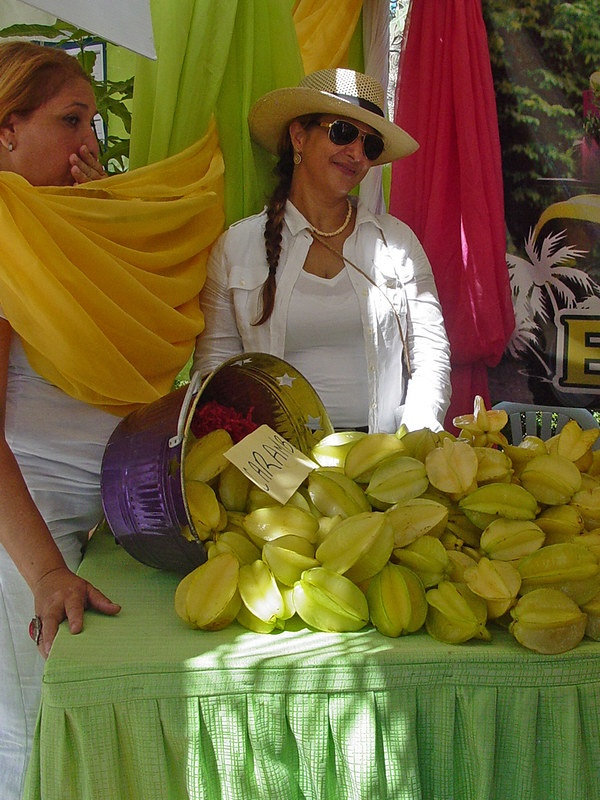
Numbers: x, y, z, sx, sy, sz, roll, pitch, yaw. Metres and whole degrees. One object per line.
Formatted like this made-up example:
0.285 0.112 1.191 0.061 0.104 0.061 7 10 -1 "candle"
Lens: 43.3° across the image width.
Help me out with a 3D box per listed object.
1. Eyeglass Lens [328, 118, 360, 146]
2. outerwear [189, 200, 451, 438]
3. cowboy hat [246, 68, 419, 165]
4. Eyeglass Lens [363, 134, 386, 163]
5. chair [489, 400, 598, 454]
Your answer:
0.116 -0.697 1.988 0.082 0.066 0.048 -1 12 2 "Eyeglass Lens"
0.038 -0.197 1.929 0.755 0.661 0.415 -1 -2 -13 "outerwear"
0.110 -0.811 2.135 0.475 0.158 0.402 11 1 17 "cowboy hat"
0.193 -0.672 2.030 0.027 0.057 0.061 -23 -30 39 "Eyeglass Lens"
0.671 0.071 2.081 0.137 0.117 0.152 11 46 -6 "chair"
